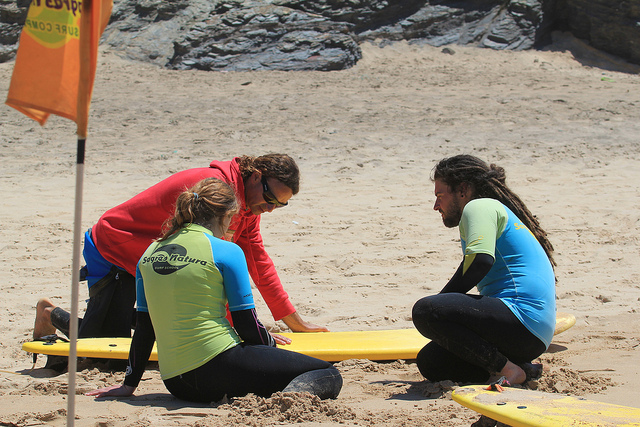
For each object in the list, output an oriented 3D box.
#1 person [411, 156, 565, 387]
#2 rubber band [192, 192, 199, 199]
[{"bbox_3d":[2.327,0.797,15.024,1.902,3.054,0.862,9,7,5],"label":"person"},{"bbox_3d":[-1.662,-0.239,14.845,0.095,0.080,0.046,7,7,1],"label":"rubber band"}]
